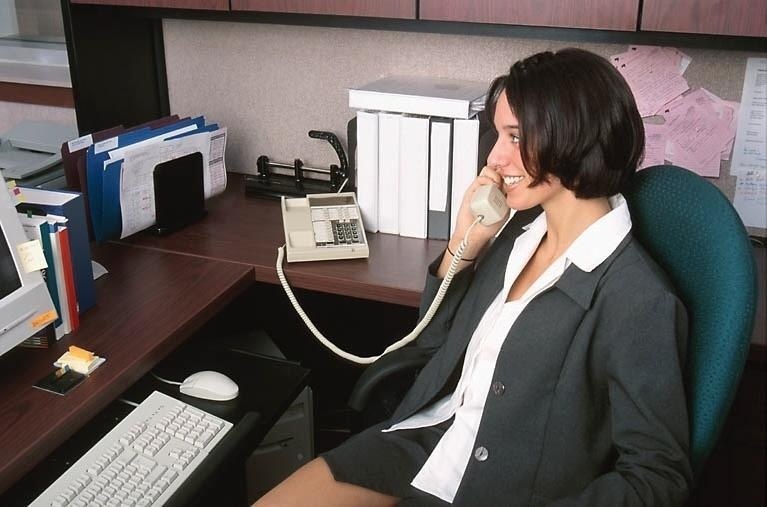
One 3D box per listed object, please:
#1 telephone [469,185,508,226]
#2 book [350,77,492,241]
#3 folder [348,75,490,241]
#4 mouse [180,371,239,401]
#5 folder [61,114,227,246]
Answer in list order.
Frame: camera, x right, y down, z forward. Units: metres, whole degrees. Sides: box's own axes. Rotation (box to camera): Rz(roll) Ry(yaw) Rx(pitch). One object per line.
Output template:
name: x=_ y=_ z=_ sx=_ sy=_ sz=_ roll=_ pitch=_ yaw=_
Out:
telephone: x=0.289 y=-0.135 z=1.596 sx=0.047 sy=0.056 sz=0.092 roll=-24 pitch=20 yaw=29
book: x=0.152 y=-0.326 z=2.256 sx=0.475 sy=0.639 sz=0.650 roll=5 pitch=23 yaw=13
folder: x=0.154 y=-0.333 z=2.239 sx=0.474 sy=0.625 sz=0.655 roll=4 pitch=21 yaw=12
mouse: x=-0.462 y=0.355 z=1.537 sx=0.133 sy=0.044 sz=0.073 roll=7 pitch=26 yaw=1
folder: x=-0.793 y=-0.233 z=1.929 sx=0.210 sy=0.252 sz=0.396 roll=18 pitch=32 yaw=29
